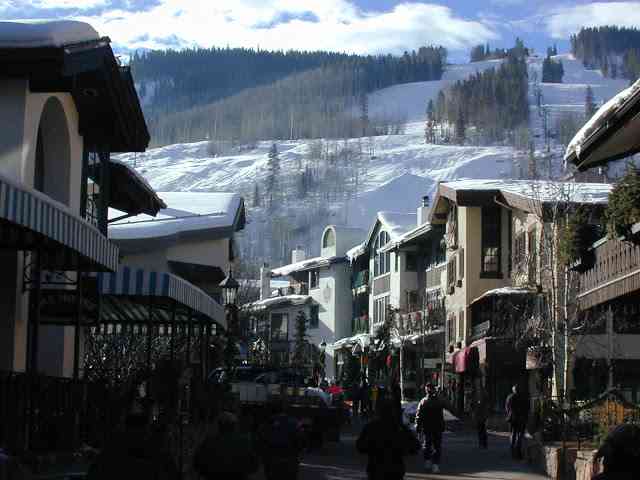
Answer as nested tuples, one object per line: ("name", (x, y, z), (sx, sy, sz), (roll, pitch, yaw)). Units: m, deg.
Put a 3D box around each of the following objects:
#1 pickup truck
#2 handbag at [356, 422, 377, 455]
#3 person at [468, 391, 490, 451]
("pickup truck", (-1.233, 4.483, 33.409), (4.057, 2.113, 1.972), (3, -2, 44))
("handbag", (0.840, 3.484, 20.904), (0.348, 0.592, 0.193), (12, -1, 3))
("person", (4.514, 4.978, 33.096), (0.390, 1.741, 1.948), (-3, -12, 7))
